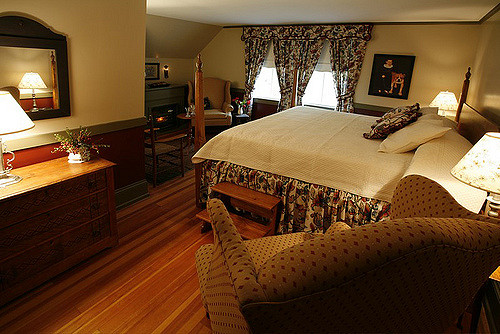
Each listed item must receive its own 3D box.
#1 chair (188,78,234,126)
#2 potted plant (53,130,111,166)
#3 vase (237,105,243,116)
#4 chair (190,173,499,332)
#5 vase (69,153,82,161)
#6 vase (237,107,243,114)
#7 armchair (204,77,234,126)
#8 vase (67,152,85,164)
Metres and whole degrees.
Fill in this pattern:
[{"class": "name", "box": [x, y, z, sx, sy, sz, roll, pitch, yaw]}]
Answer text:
[{"class": "chair", "box": [-0.991, -1.613, 8.099, 1.092, 1.318, 1.203, -3, 18, -9]}, {"class": "potted plant", "box": [-1.908, -0.270, 3.619, 0.538, 0.326, 0.258, 3, 6, -23]}, {"class": "vase", "box": [-0.273, -1.479, 8.268, 0.167, 0.270, 0.191, -10, 28, -18]}, {"class": "chair", "box": [0.790, 0.638, 2.432, 1.269, 0.854, 0.729, -5, 33, -3]}, {"class": "vase", "box": [-1.945, -0.120, 3.553, 0.090, 0.065, 0.091, 12, 23, 20]}, {"class": "vase", "box": [-0.276, -1.457, 8.222, 0.133, 0.182, 0.110, -2, 0, -3]}, {"class": "armchair", "box": [-0.763, -1.652, 8.038, 0.828, 1.268, 0.768, -2, 17, -15]}, {"class": "vase", "box": [-1.961, -0.113, 3.602, 0.127, 0.107, 0.117, -3, 21, -13]}]
